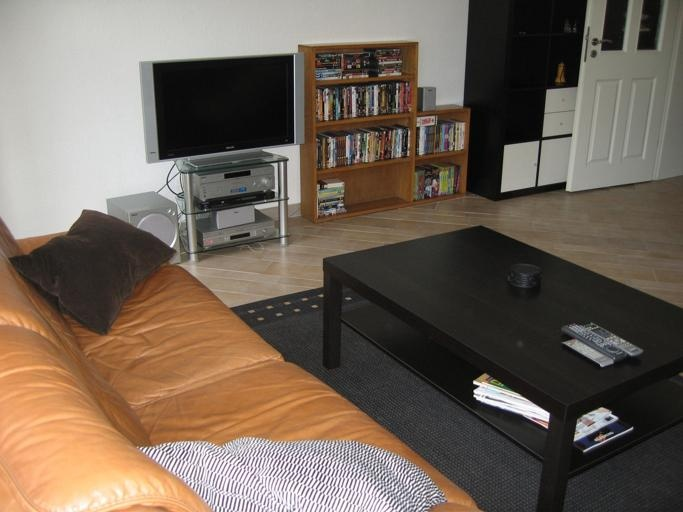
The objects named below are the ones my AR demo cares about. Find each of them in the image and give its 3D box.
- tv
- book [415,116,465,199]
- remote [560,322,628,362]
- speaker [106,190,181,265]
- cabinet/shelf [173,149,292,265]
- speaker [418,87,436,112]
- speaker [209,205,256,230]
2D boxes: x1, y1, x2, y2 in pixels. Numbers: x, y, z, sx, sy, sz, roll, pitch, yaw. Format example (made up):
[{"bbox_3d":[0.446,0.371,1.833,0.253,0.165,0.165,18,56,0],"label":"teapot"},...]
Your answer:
[{"bbox_3d":[-0.861,-1.030,3.603,0.911,0.481,0.091,-11,26,-26],"label":"tv"},{"bbox_3d":[0.881,-0.900,4.712,0.708,0.632,0.224,-12,21,-36],"label":"book"},{"bbox_3d":[0.875,0.292,1.807,0.086,0.026,0.151,-11,26,-25],"label":"remote"},{"bbox_3d":[-1.102,-0.159,2.893,0.314,0.367,0.419,-19,36,-33],"label":"speaker"},{"bbox_3d":[-0.816,-0.491,4.007,1.070,0.837,0.767,-11,25,-25],"label":"cabinet/shelf"},{"bbox_3d":[0.743,-1.371,4.553,0.122,0.208,0.156,-5,27,-7],"label":"speaker"},{"bbox_3d":[-0.770,-0.279,3.718,0.273,0.123,0.184,-14,29,-26],"label":"speaker"}]
